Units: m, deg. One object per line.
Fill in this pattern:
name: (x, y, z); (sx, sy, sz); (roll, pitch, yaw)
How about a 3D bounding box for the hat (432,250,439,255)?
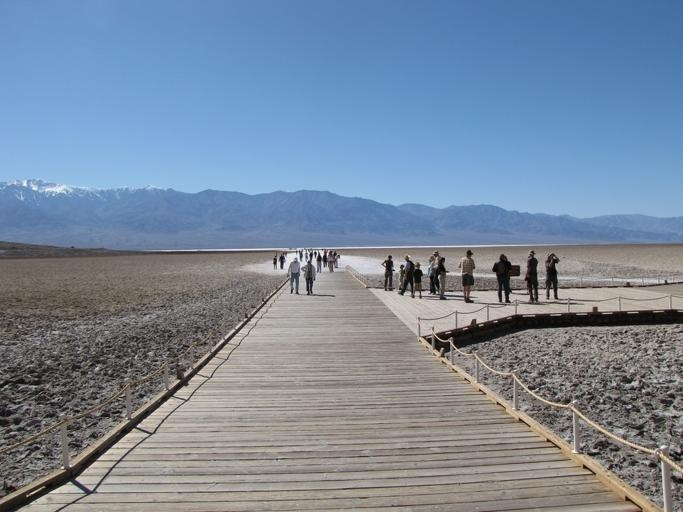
hat: (4.121, -0.140, 22.684); (0.390, 0.094, 0.349); (-2, -2, 10)
